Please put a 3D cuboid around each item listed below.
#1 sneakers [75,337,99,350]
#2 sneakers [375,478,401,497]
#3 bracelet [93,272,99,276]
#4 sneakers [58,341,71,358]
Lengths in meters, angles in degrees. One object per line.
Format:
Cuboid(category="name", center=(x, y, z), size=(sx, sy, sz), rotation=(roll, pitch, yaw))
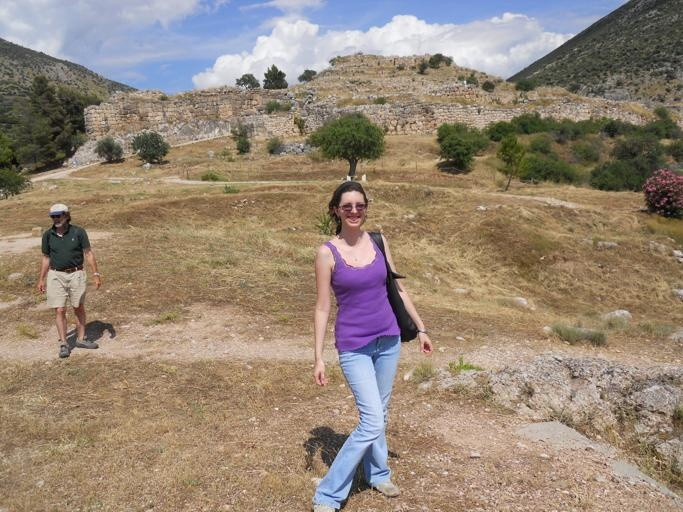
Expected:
Cuboid(category="sneakers", center=(-5.011, 1.728, 11.044), size=(0.555, 0.229, 0.196), rotation=(3, 10, -3))
Cuboid(category="sneakers", center=(0.661, 3.307, 7.927), size=(0.325, 0.128, 0.178), rotation=(-10, -1, 42))
Cuboid(category="bracelet", center=(-5.028, 0.382, 11.440), size=(0.107, 0.073, 0.116), rotation=(-5, -4, 39))
Cuboid(category="sneakers", center=(-5.275, 1.810, 10.631), size=(0.161, 0.156, 0.372), rotation=(-2, 4, -27))
